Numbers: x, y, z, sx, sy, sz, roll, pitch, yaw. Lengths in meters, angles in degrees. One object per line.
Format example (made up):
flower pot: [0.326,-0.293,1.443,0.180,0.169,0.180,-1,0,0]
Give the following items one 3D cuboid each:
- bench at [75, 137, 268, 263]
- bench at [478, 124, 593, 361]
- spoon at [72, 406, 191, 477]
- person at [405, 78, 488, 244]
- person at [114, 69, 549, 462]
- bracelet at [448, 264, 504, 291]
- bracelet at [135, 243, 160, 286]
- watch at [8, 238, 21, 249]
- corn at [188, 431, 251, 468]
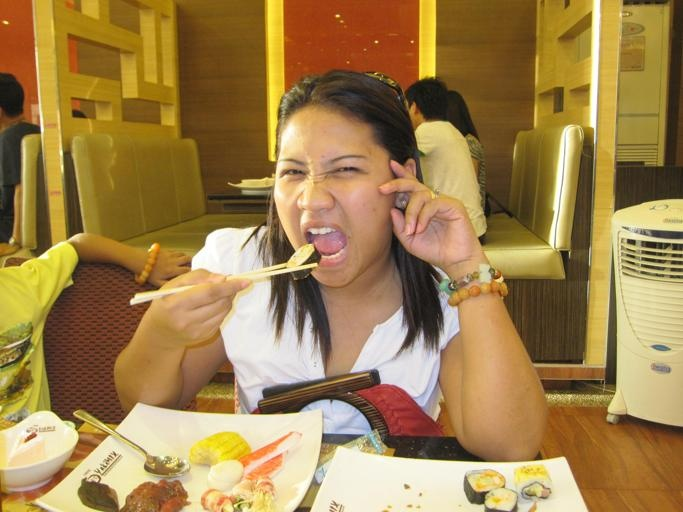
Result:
bench: [-1.293,-0.448,3.687,0.998,0.865,1.502,1,11,-3]
bench: [1.279,-0.091,3.414,0.562,1.278,1.221,3,11,6]
spoon: [-0.453,0.401,1.179,0.297,0.087,0.061,5,12,30]
person: [0.677,-0.705,3.660,0.577,1.279,0.627,3,16,5]
person: [0.007,0.106,1.617,0.712,1.348,0.804,-1,5,1]
bracelet: [0.348,0.060,1.438,0.105,0.036,0.078,-23,-2,6]
bracelet: [-0.569,0.024,1.615,0.030,0.108,0.094,24,-10,-2]
watch: [-2.283,-0.089,3.811,0.053,0.054,0.058,-28,-6,-18]
corn: [-0.255,0.412,1.206,0.119,0.051,0.142,2,9,4]
